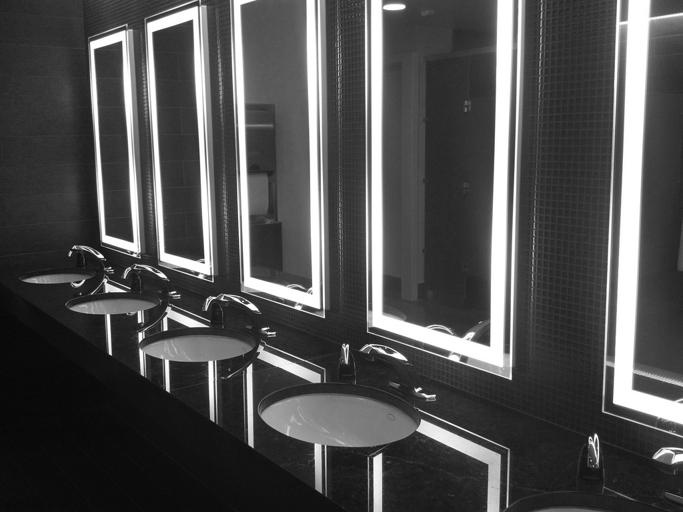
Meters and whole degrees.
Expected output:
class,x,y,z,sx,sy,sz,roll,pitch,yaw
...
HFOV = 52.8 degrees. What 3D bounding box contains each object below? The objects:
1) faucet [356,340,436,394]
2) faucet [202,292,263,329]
class,x,y,z,sx,sy,sz,roll,pitch,yaw
faucet,0.176,0.364,2.181,0.297,0.094,0.084,22,7,15
faucet,-0.428,0.220,2.727,0.304,0.178,0.076,7,13,34
